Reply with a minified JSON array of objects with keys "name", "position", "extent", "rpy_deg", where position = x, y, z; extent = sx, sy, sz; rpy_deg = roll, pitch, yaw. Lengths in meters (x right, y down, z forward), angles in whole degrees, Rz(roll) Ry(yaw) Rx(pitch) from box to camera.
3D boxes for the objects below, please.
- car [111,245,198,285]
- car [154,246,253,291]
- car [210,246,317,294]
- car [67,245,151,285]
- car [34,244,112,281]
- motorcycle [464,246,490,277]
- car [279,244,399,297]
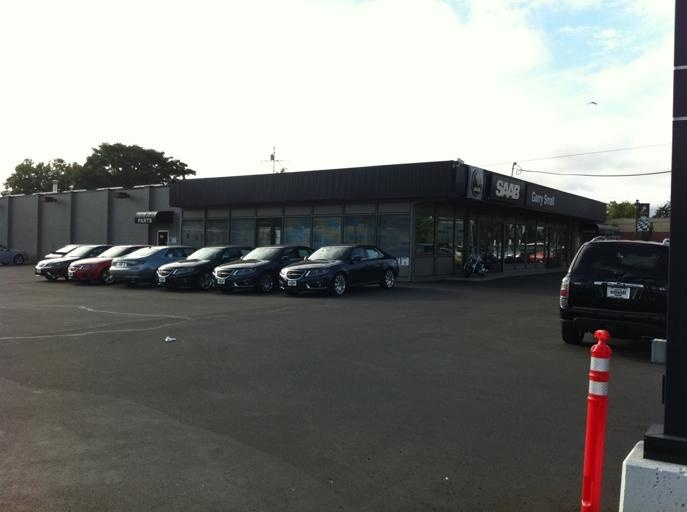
[{"name":"car","position":[-7.300,0.303,22.673],"extent":[1.344,1.059,3.305],"rpy_deg":[2,5,33]},{"name":"car","position":[-5.007,0.459,21.403],"extent":[1.386,1.068,3.250],"rpy_deg":[-1,-3,37]},{"name":"car","position":[-2.744,0.472,20.221],"extent":[1.454,1.192,3.315],"rpy_deg":[-1,-2,35]},{"name":"car","position":[-9.424,0.379,24.070],"extent":[1.457,1.342,3.778],"rpy_deg":[0,0,40]},{"name":"car","position":[-11.821,0.266,25.426],"extent":[1.389,1.226,3.399],"rpy_deg":[0,0,28]},{"name":"motorcycle","position":[6.759,0.348,29.311],"extent":[0.947,1.175,1.968],"rpy_deg":[4,-5,27]},{"name":"car","position":[-0.122,0.469,19.597],"extent":[1.623,1.330,3.795],"rpy_deg":[-4,-5,38]}]
